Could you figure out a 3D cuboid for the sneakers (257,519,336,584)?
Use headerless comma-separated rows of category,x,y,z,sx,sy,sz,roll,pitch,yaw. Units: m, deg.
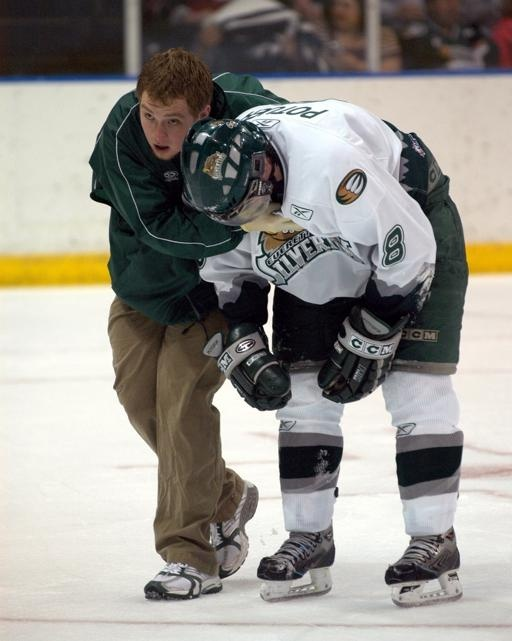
sneakers,0.096,0.503,1.601,0.080,0.084,0.223,-7,-8,43

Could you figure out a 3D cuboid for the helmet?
helmet,-0.053,-0.274,1.389,0.174,0.188,0.138,8,26,16

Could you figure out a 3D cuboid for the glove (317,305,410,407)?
glove,0.212,0.064,1.579,0.156,0.209,0.094,21,31,-7

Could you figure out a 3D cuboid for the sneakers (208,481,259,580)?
sneakers,-0.064,0.524,1.865,0.121,0.078,0.218,28,40,-26

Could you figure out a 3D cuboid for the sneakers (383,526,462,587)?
sneakers,0.332,0.483,1.510,0.182,0.078,0.093,-18,29,-38

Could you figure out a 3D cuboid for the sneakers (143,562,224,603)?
sneakers,-0.155,0.560,1.566,0.160,0.062,0.060,14,-26,-40

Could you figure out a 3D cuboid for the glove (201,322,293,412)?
glove,-0.003,0.111,1.672,0.160,0.088,0.205,-36,54,5

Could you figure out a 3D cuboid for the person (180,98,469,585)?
person,0.144,0.061,1.548,0.558,0.989,0.598,-2,26,-5
